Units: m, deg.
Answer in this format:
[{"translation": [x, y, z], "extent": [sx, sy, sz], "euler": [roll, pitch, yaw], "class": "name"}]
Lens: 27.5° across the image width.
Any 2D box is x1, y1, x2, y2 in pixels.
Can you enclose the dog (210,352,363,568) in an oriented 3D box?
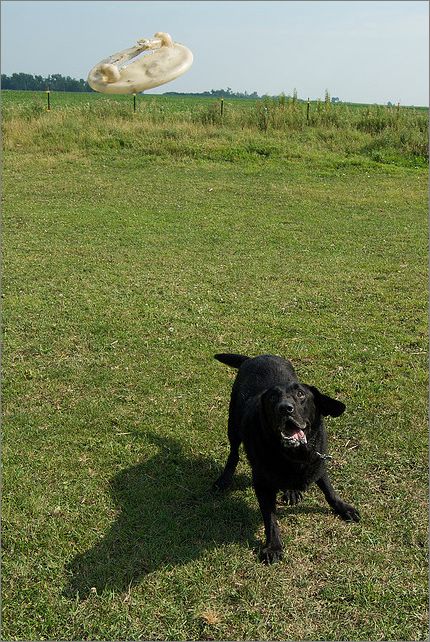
[{"translation": [0.428, 0.789, 6.044], "extent": [0.631, 0.808, 1.790], "euler": [-6, 19, -10], "class": "dog"}]
